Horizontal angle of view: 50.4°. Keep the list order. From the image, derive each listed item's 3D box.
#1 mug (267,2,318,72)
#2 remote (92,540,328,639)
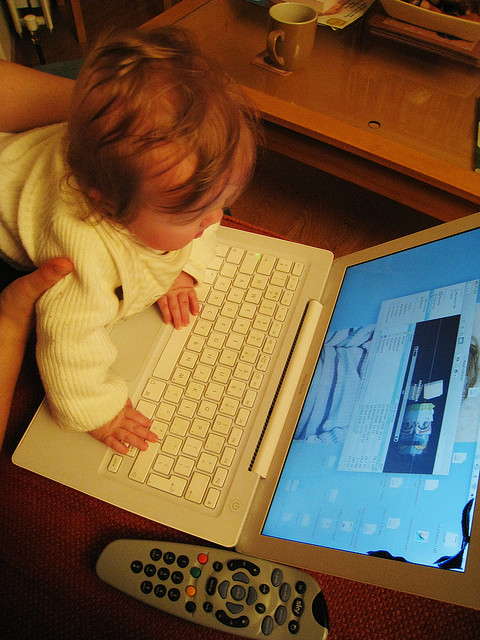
[{"bbox_3d":[0.092,-0.508,0.916,0.081,0.092,0.126,14,57,15],"label":"mug"},{"bbox_3d":[-0.025,0.277,0.529,0.255,0.034,0.080,11,63,5],"label":"remote"}]
